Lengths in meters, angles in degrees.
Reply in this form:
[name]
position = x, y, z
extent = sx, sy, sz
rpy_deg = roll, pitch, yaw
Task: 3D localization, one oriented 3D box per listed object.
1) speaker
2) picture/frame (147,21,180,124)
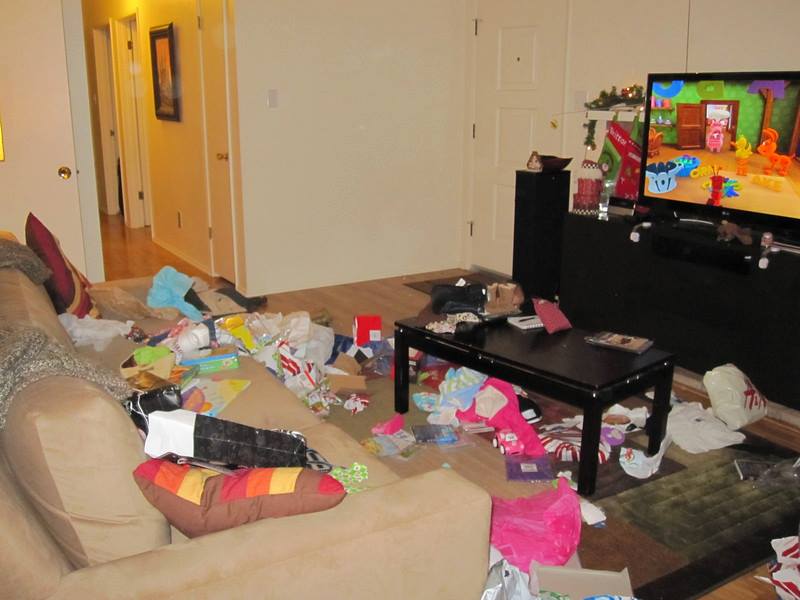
[speaker]
position = 1.091, -0.550, 4.712
extent = 0.342, 1.095, 0.226
rpy_deg = -22, 43, -16
[picture/frame]
position = -2.340, -2.288, 5.960
extent = 0.088, 0.886, 0.827
rpy_deg = -7, 40, -22
